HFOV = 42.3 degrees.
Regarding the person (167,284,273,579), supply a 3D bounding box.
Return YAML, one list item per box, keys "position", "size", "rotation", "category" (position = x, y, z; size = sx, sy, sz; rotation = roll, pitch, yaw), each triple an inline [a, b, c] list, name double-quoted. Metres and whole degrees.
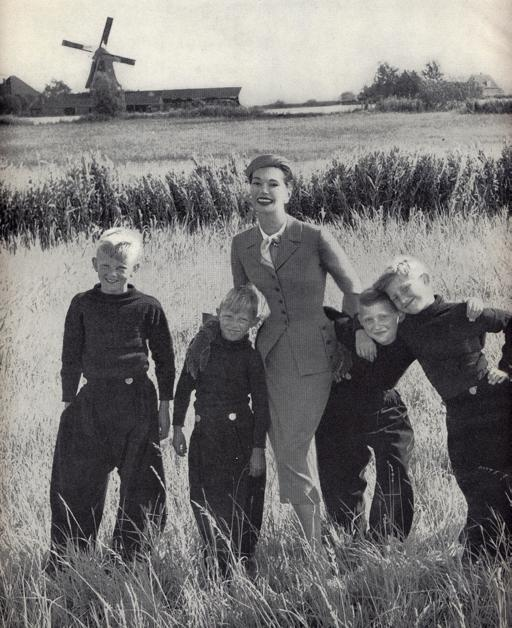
- position: [-0.183, 0.579, 3.285]
  size: [0.400, 1.654, 0.342]
  rotation: [3, 24, -3]
  category: "person"
